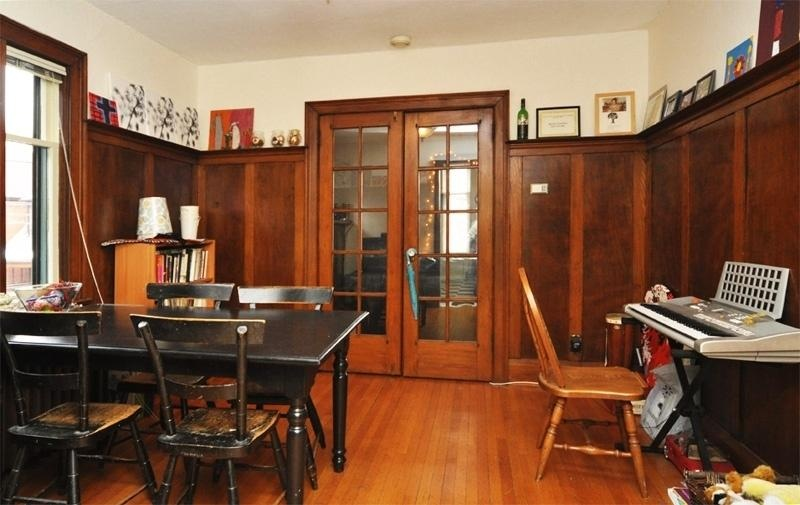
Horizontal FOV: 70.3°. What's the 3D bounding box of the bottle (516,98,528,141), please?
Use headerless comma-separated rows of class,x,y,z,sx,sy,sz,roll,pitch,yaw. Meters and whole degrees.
bottle,1.261,-1.363,5.853,0.125,0.437,0.115,-2,4,0

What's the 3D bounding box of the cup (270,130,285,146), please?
cup,-1.344,-1.244,6.215,0.164,0.149,0.161,4,2,0

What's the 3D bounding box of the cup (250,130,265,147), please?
cup,-1.569,-1.246,6.296,0.165,0.144,0.161,2,-6,0

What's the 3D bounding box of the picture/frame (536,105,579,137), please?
picture/frame,1.618,-1.338,5.813,0.383,0.263,0.029,1,2,9

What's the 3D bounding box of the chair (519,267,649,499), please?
chair,1.521,0.950,4.712,0.913,1.692,1.146,-1,4,21

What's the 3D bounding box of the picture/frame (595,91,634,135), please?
picture/frame,2.174,-1.399,5.749,0.507,0.541,0.026,1,-3,9

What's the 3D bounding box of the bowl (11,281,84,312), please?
bowl,-2.691,0.346,4.355,0.427,0.203,0.272,-1,3,22
